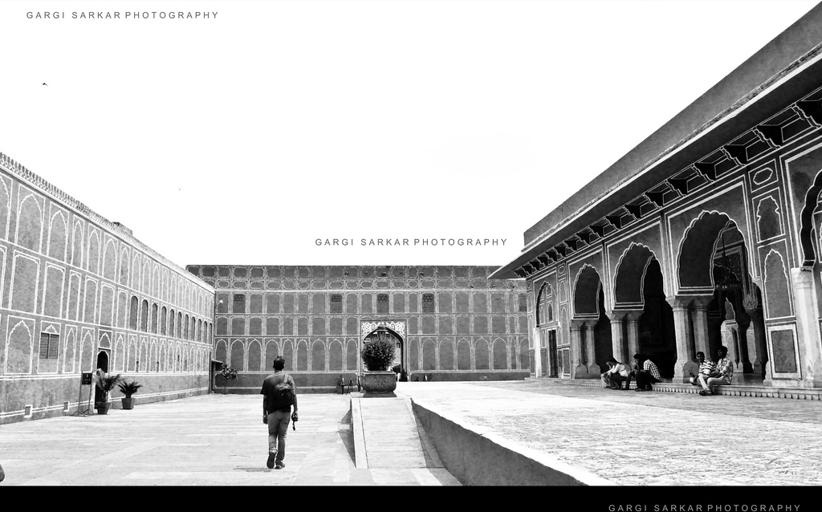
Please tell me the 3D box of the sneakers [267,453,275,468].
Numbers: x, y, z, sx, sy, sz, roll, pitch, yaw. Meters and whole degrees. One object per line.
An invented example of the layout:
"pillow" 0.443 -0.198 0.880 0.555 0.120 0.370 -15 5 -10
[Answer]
"sneakers" -2.148 3.111 9.268 0.139 0.230 0.088 4 -2 -7

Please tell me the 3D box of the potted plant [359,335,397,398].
"potted plant" -1.023 3.553 18.853 1.676 2.014 1.451 0 -19 -3

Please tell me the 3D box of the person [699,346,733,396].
"person" 6.932 2.666 13.880 0.819 1.313 0.603 4 -42 17

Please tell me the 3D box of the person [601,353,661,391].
"person" 5.981 3.208 16.593 0.896 0.969 1.680 2 -15 -13

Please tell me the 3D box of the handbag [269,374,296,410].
"handbag" -2.032 2.135 9.473 0.476 0.568 0.342 5 -30 -28
